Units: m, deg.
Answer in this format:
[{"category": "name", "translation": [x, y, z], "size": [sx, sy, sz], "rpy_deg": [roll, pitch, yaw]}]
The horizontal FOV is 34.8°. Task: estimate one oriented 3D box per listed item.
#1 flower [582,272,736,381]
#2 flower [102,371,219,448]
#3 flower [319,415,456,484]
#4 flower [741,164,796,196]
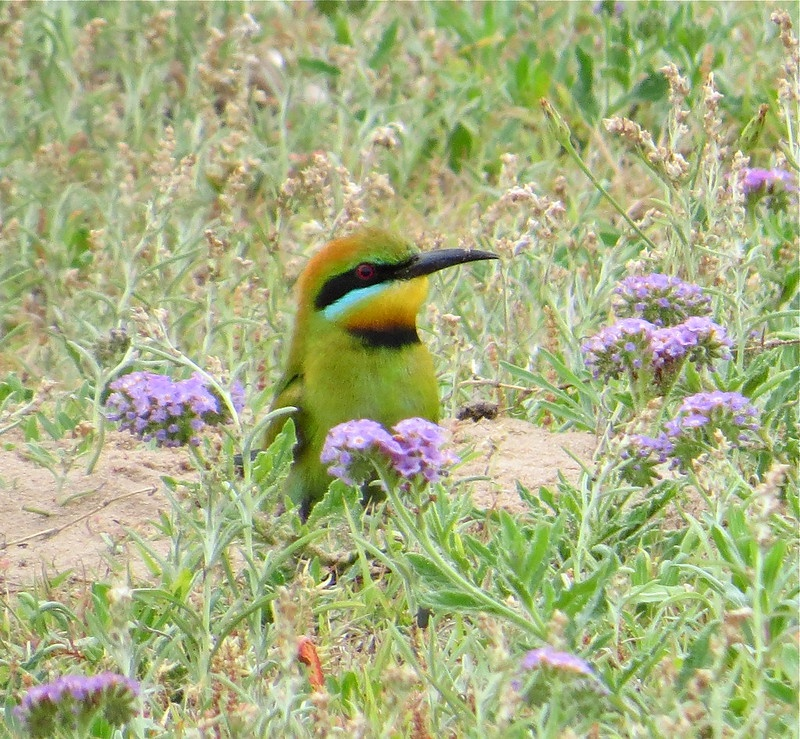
[{"category": "flower", "translation": [0.610, -0.117, 3.118], "size": [0.294, 0.212, 0.316], "rpy_deg": [-11, 40, -11]}, {"category": "flower", "translation": [-0.520, 0.084, 2.783], "size": [0.186, 0.183, 0.118], "rpy_deg": [18, 82, -41]}, {"category": "flower", "translation": [-0.028, 0.156, 2.444], "size": [0.161, 0.165, 0.083], "rpy_deg": [8, 109, 34]}, {"category": "flower", "translation": [1.227, -0.630, 4.280], "size": [0.149, 0.140, 0.068], "rpy_deg": [4, 87, -15]}]
